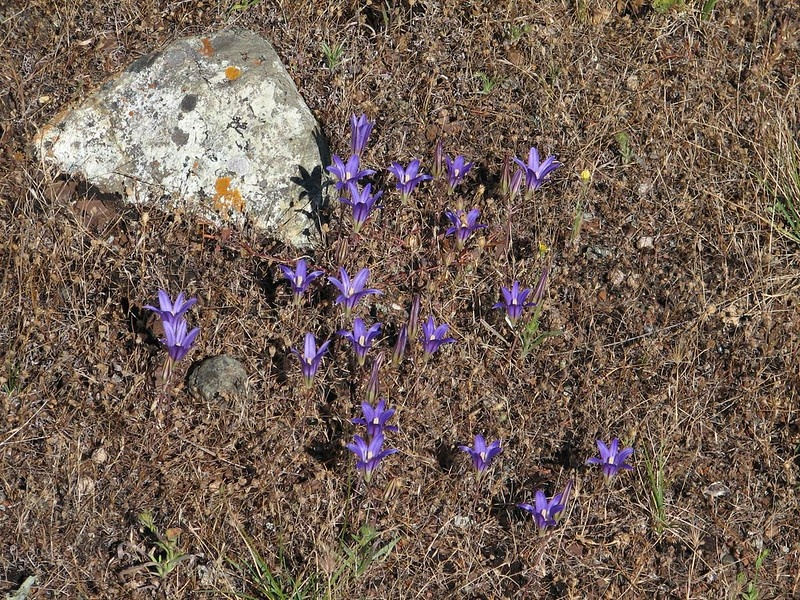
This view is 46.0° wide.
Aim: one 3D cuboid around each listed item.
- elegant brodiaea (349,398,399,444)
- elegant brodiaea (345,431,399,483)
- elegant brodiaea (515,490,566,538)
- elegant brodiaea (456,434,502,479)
[{"bbox_3d":[-0.155,0.814,6.058,0.247,0.194,0.299,-4,47,-26],"label":"elegant brodiaea"},{"bbox_3d":[-0.206,0.995,6.074,0.244,0.192,0.338,16,58,-5],"label":"elegant brodiaea"},{"bbox_3d":[0.952,1.381,6.255,0.234,0.213,0.309,-6,34,-2],"label":"elegant brodiaea"},{"bbox_3d":[0.554,1.055,6.267,0.258,0.244,0.331,15,15,13],"label":"elegant brodiaea"}]
